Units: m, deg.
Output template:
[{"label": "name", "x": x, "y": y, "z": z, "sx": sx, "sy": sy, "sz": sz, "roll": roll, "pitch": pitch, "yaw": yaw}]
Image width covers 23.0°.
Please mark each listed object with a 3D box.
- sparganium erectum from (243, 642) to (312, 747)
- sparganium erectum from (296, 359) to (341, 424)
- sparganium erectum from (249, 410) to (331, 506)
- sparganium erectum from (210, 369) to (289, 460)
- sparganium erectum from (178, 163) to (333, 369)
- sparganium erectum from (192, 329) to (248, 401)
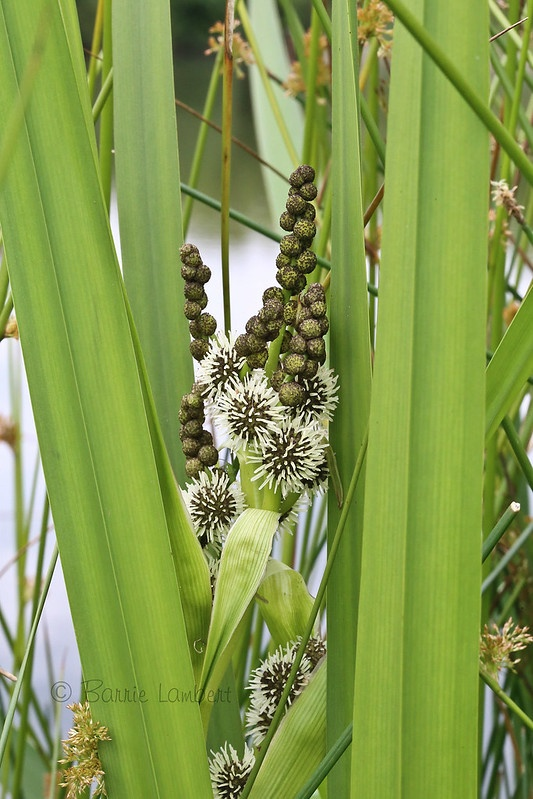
[{"label": "sparganium erectum", "x": 0.007, "y": 0.132, "z": 0.653, "sx": 0.026, "sy": 0.051, "sz": 0.028, "roll": 21, "pitch": -16, "yaw": 28}, {"label": "sparganium erectum", "x": 0.024, "y": -0.002, "z": 0.605, "sx": 0.008, "sy": 0.028, "sz": 0.019, "roll": 17, "pitch": 4, "yaw": 32}, {"label": "sparganium erectum", "x": 0.011, "y": 0.026, "z": 0.589, "sx": 0.025, "sy": 0.043, "sz": 0.016, "roll": -2, "pitch": -4, "yaw": 9}, {"label": "sparganium erectum", "x": -0.009, "y": 0.006, "z": 0.599, "sx": 0.033, "sy": 0.031, "sz": 0.019, "roll": 47, "pitch": -3, "yaw": -1}, {"label": "sparganium erectum", "x": -0.004, "y": -0.036, "z": 0.625, "sx": 0.066, "sy": 0.087, "sz": 0.123, "roll": -10, "pitch": -15, "yaw": 1}, {"label": "sparganium erectum", "x": -0.022, "y": -0.011, "z": 0.619, "sx": 0.018, "sy": 0.036, "sz": 0.020, "roll": 22, "pitch": -17, "yaw": -23}]
